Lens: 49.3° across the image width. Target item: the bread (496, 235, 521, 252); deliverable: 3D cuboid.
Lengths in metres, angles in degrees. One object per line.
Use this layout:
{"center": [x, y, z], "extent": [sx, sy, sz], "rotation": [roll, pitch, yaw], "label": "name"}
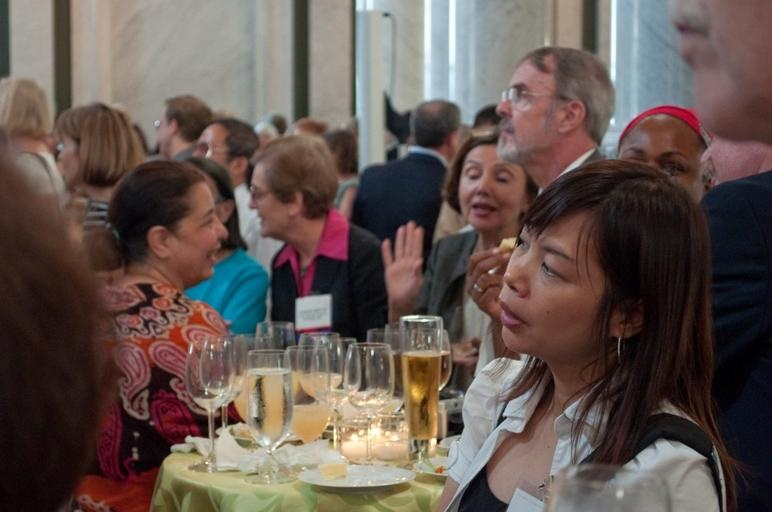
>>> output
{"center": [0.405, -0.041, 2.820], "extent": [0.021, 0.073, 0.070], "rotation": [37, -30, -27], "label": "bread"}
